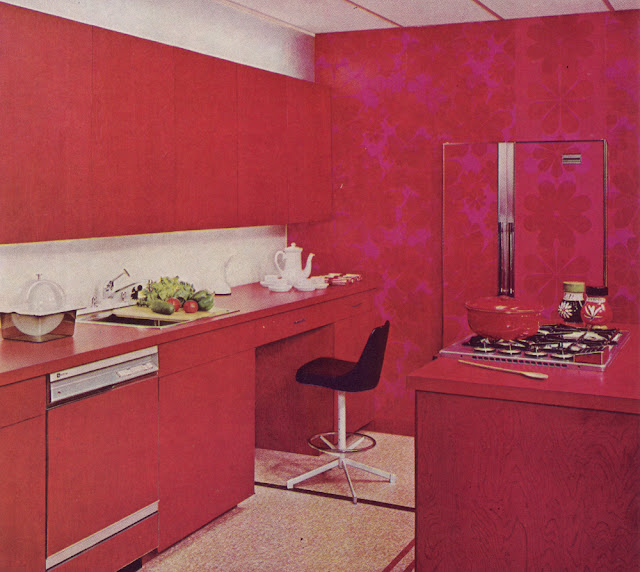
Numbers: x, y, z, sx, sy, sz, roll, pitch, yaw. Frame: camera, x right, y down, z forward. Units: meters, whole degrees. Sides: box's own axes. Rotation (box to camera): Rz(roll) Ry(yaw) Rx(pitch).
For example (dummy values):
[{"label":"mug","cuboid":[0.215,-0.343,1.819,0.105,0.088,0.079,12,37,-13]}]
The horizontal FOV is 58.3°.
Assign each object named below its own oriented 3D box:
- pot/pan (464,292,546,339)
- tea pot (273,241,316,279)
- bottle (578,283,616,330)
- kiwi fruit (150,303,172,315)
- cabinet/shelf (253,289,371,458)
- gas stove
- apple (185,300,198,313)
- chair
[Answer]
[{"label":"pot/pan","cuboid":[0.710,0.131,2.235,0.254,0.159,0.252,-5,6,-45]},{"label":"tea pot","cuboid":[-0.207,-0.196,4.323,0.345,0.358,0.226,-1,4,-4]},{"label":"bottle","cuboid":[1.259,0.092,2.626,0.120,0.198,0.202,1,5,24]},{"label":"kiwi fruit","cuboid":[-0.818,0.106,2.953,0.110,0.054,0.053,8,10,22]},{"label":"cabinet/shelf","cuboid":[-0.095,0.588,3.820,0.587,1.055,1.112,0,2,25]},{"label":"gas stove","cuboid":[0.876,0.223,2.342,0.582,0.063,0.706,2,5,34]},{"label":"apple","cuboid":[-0.679,0.101,3.032,0.062,0.063,0.059,-3,10,-22]},{"label":"chair","cuboid":[0.125,0.706,3.487,0.525,0.950,0.475,-2,3,5]}]
